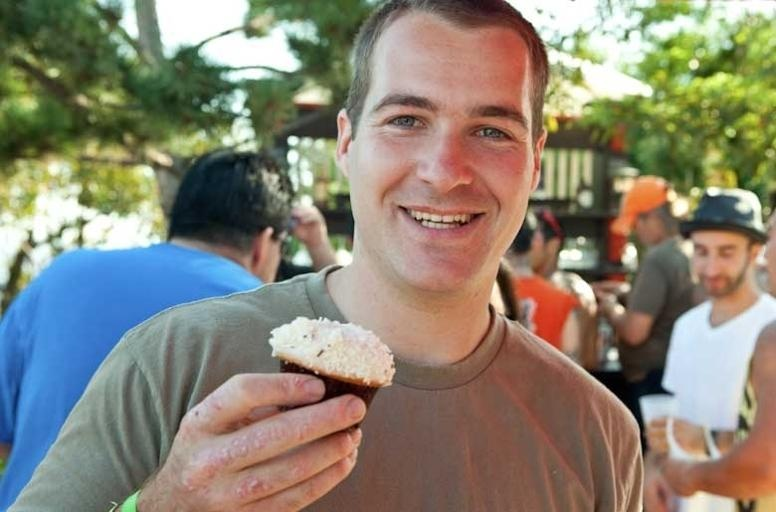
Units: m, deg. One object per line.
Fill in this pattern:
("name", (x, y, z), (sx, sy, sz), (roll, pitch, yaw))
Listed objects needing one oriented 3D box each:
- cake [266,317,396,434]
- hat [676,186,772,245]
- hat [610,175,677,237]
("cake", (-0.244, 0.495, 3.844), (0.423, 0.296, 0.429), (14, -8, -5))
("hat", (2.082, -0.258, 5.538), (0.502, 0.326, 0.367), (4, 4, 20))
("hat", (2.009, -0.472, 7.414), (0.588, 0.339, 0.398), (-27, 16, -5))
